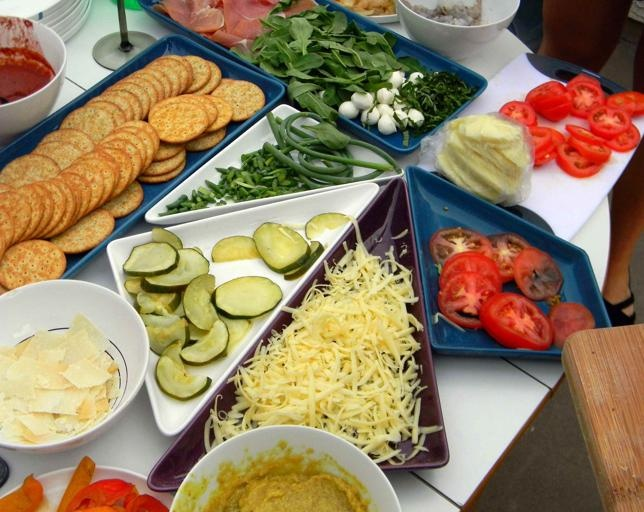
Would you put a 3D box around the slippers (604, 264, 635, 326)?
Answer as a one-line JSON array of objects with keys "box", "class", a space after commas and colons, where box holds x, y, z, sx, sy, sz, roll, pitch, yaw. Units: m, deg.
[{"box": [1.512, 0.207, 2.829, 0.098, 0.110, 0.305, 2, 70, 20], "class": "slippers"}]
